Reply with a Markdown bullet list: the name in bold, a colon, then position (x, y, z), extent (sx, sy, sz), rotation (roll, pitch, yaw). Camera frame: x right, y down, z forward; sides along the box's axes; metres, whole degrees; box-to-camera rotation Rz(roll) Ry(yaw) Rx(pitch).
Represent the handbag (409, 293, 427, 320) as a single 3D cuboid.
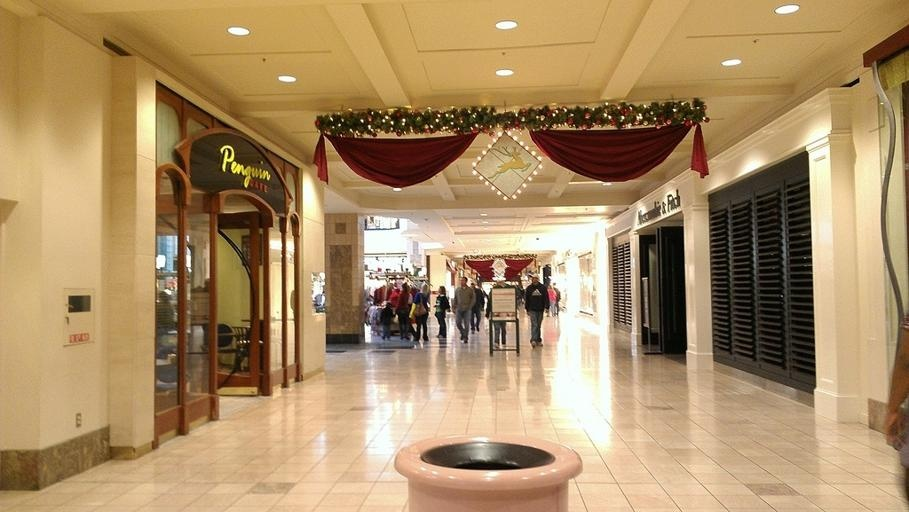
- **handbag**: position (-1.097, 1.531, 18.890), extent (0.466, 0.839, 0.619), rotation (-2, 5, -8)
